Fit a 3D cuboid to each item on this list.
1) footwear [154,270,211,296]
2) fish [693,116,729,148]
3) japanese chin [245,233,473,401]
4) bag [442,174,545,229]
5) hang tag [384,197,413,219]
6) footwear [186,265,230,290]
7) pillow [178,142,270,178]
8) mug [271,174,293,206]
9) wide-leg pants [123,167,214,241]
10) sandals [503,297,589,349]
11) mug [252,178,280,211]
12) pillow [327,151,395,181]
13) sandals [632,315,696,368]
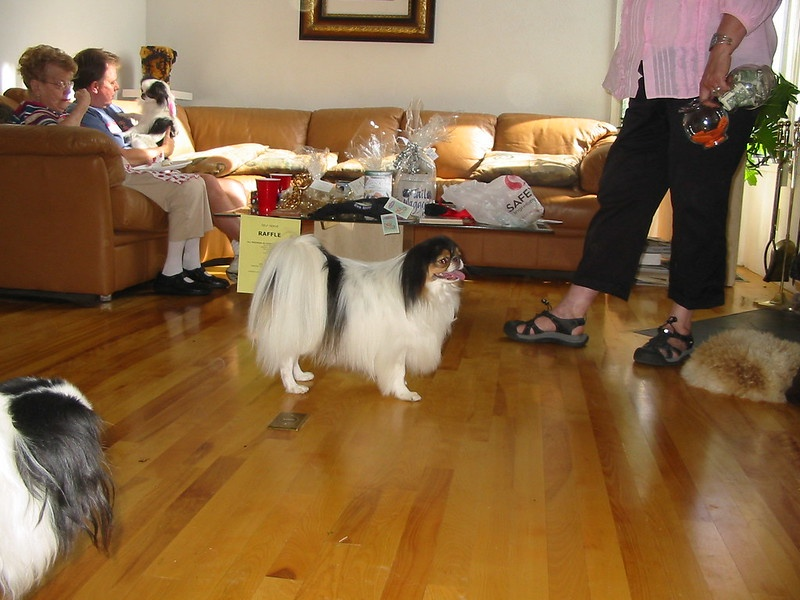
[{"bbox_3d":[-1.203,-0.101,3.109,0.325,0.117,0.121,1,15,-7],"label":"footwear"},{"bbox_3d":[1.027,-0.547,1.888,0.101,0.067,0.097,-12,17,25],"label":"fish"},{"bbox_3d":[-0.142,0.058,1.896,0.694,0.454,0.292,0,3,3],"label":"japanese chin"},{"bbox_3d":[0.453,-0.468,2.743,0.424,0.158,0.272,4,36,7],"label":"bag"},{"bbox_3d":[-0.010,-0.394,2.466,0.116,0.080,0.105,1,17,-2],"label":"hang tag"},{"bbox_3d":[-1.087,-0.125,3.202,0.256,0.095,0.096,16,21,-20],"label":"footwear"},{"bbox_3d":[-1.251,-1.001,4.023,0.327,0.108,0.508,-1,20,15],"label":"pillow"},{"bbox_3d":[-0.572,-0.526,2.733,0.120,0.152,0.121,-8,30,-21],"label":"mug"},{"bbox_3d":[-1.344,-0.551,3.162,0.504,0.393,0.294,5,7,-4],"label":"wide-leg pants"},{"bbox_3d":[0.637,0.104,2.566,0.426,0.196,0.144,6,9,12],"label":"sandals"},{"bbox_3d":[-0.627,-0.499,2.703,0.113,0.157,0.237,-2,17,-12],"label":"mug"},{"bbox_3d":[-0.381,-0.932,3.933,0.431,0.133,0.481,-2,4,-1],"label":"pillow"},{"bbox_3d":[1.048,0.159,2.279,0.309,0.122,0.131,-12,24,-38],"label":"sandals"}]
